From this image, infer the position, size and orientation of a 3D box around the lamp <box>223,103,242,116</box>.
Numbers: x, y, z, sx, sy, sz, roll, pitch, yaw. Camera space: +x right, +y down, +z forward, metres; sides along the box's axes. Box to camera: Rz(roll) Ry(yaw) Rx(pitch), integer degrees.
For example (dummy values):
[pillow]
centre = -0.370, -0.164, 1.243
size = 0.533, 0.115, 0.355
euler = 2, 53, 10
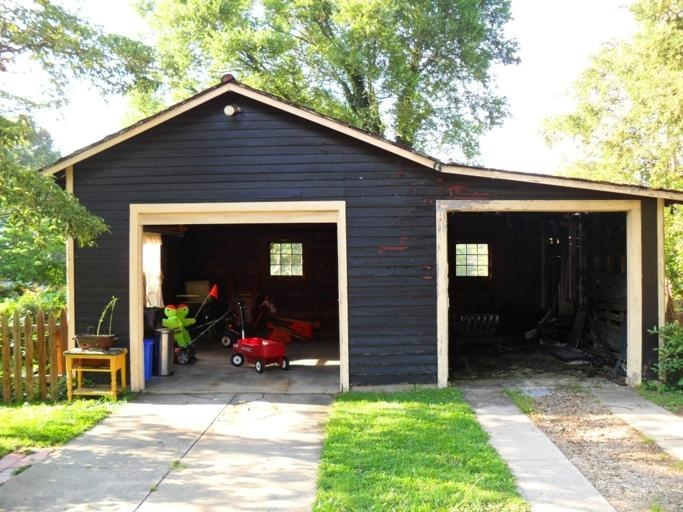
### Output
[lamp]
centre = -1.971, -2.613, 10.919
size = 0.314, 0.225, 0.163
euler = -2, 8, -5

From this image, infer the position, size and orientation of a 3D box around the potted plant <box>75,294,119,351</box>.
[potted plant]
centre = -4.340, 1.203, 10.850
size = 1.016, 1.026, 0.563
euler = 3, 0, -4

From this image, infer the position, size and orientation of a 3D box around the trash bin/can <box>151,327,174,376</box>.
[trash bin/can]
centre = -3.518, 1.898, 12.021
size = 0.378, 0.873, 0.332
euler = -4, 8, -17
